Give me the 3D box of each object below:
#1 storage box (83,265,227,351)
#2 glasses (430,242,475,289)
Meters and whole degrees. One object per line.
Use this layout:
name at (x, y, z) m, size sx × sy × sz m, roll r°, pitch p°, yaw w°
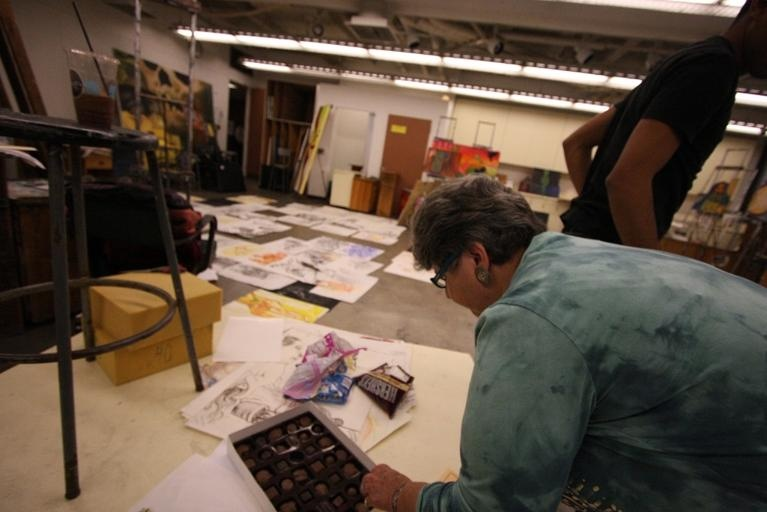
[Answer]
storage box at (-1.192, 0.186, 2.493) m, size 0.409 × 0.192 × 0.438 m, roll 11°, pitch 16°, yaw 39°
glasses at (0.248, 0.023, 1.994) m, size 0.048 × 0.164 × 0.163 m, roll 49°, pitch -4°, yaw 18°
